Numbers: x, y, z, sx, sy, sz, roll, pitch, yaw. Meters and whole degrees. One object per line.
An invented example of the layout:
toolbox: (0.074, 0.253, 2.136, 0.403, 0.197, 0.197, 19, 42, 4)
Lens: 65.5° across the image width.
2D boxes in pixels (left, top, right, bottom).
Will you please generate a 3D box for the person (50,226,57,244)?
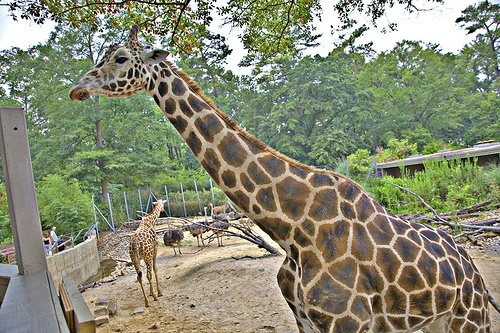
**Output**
person: (-9.242, 3.271, 18.322, 0.225, 0.936, 1.739, -4, -2, -28)
